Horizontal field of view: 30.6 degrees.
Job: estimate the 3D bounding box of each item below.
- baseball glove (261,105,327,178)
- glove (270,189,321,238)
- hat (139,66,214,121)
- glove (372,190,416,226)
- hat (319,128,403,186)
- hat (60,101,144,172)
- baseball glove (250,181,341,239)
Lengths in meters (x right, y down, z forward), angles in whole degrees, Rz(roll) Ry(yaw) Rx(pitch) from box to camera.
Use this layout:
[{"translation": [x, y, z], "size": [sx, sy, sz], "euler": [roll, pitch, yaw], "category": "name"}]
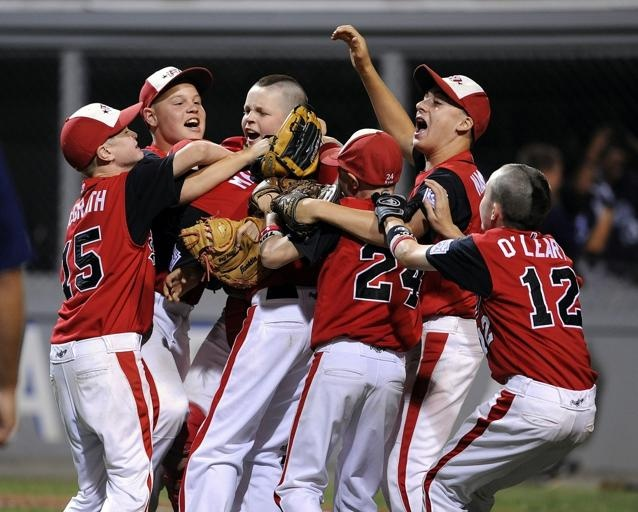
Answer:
[{"translation": [-0.147, -0.688, 7.335], "size": [0.155, 0.466, 0.362], "euler": [29, 3, 44], "category": "baseball glove"}, {"translation": [-0.109, -0.295, 7.272], "size": [0.376, 0.196, 0.400], "euler": [2, 29, -14], "category": "glove"}, {"translation": [-1.031, -1.151, 7.806], "size": [0.433, 0.214, 0.305], "euler": [-17, 6, 44], "category": "hat"}, {"translation": [0.456, -0.329, 7.185], "size": [0.235, 0.093, 0.227], "euler": [-5, 40, -32], "category": "glove"}, {"translation": [0.262, -0.645, 7.351], "size": [0.282, 0.254, 0.444], "euler": [-19, 48, -39], "category": "hat"}, {"translation": [-1.412, -0.796, 7.452], "size": [0.282, 0.490, 0.339], "euler": [42, 0, -16], "category": "hat"}, {"translation": [-0.079, -0.307, 7.348], "size": [0.423, 0.226, 0.555], "euler": [-17, -3, 20], "category": "baseball glove"}]
